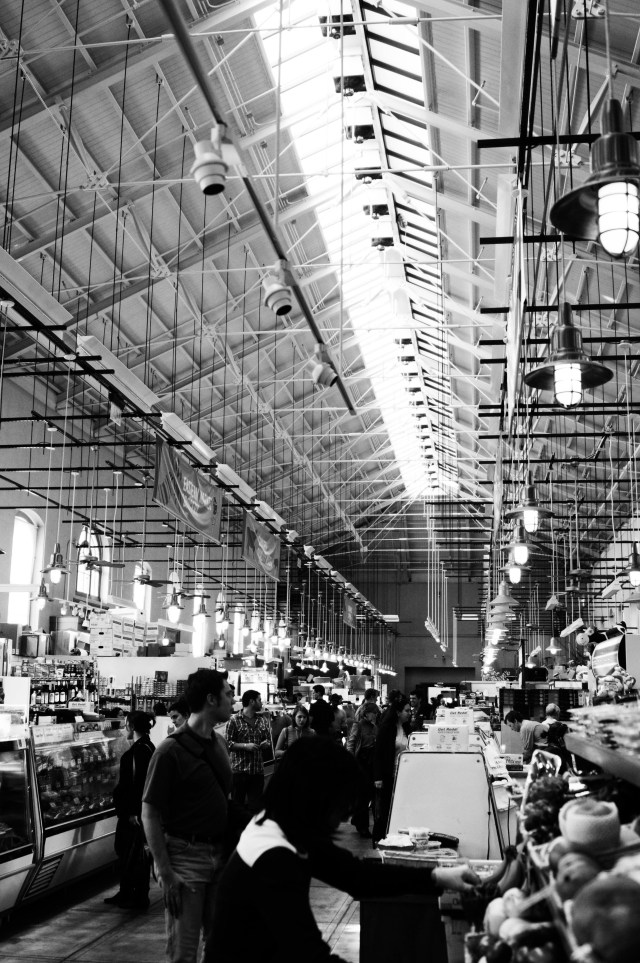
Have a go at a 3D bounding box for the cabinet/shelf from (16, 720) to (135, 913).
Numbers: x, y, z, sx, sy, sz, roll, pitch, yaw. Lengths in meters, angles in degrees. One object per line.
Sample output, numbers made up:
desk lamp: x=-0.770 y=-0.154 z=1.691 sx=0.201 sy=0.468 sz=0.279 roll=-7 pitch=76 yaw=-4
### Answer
cabinet/shelf: x=-2.338 y=2.919 z=7.132 sx=0.551 sy=1.385 sz=1.490 roll=-6 pitch=-16 yaw=16
